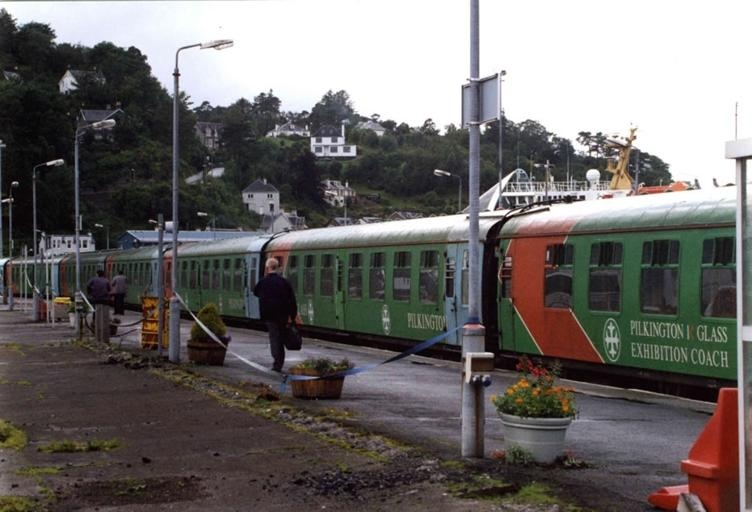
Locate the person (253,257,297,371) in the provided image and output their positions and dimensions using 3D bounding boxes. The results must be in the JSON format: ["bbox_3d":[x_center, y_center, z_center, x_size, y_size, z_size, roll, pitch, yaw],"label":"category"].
[{"bbox_3d":[-2.071,1.250,19.552,0.813,2.395,0.788,0,2,-7],"label":"person"}]

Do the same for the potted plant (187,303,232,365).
[{"bbox_3d":[-3.782,1.937,23.793,1.111,1.589,1.112,5,-5,-32],"label":"potted plant"}]

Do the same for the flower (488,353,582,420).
[{"bbox_3d":[2.393,2.166,13.899,1.249,1.075,1.174,-2,7,-14],"label":"flower"}]

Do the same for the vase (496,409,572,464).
[{"bbox_3d":[2.344,2.666,13.680,0.909,0.657,0.932,2,-13,1],"label":"vase"}]

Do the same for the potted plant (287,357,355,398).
[{"bbox_3d":[-1.040,2.361,18.186,0.905,0.478,0.848,-2,-1,31],"label":"potted plant"}]
